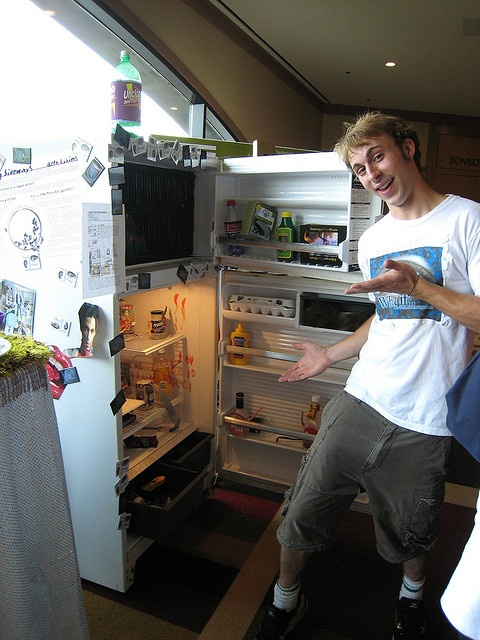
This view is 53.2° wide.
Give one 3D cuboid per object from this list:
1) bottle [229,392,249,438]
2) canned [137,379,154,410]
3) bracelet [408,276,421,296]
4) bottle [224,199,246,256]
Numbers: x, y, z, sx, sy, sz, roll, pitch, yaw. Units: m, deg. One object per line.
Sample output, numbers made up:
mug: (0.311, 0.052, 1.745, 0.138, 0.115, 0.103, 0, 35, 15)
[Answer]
bottle: (-0.014, 0.512, 2.565, 0.108, 0.164, 0.182, -8, 5, 0)
canned: (-0.468, 0.363, 2.394, 0.089, 0.104, 0.181, -8, 5, -3)
bracelet: (0.394, -0.076, 1.079, 0.009, 0.036, 0.039, 13, -6, -5)
bottle: (-0.026, -0.430, 2.260, 0.096, 0.184, 0.086, -10, 5, -26)
